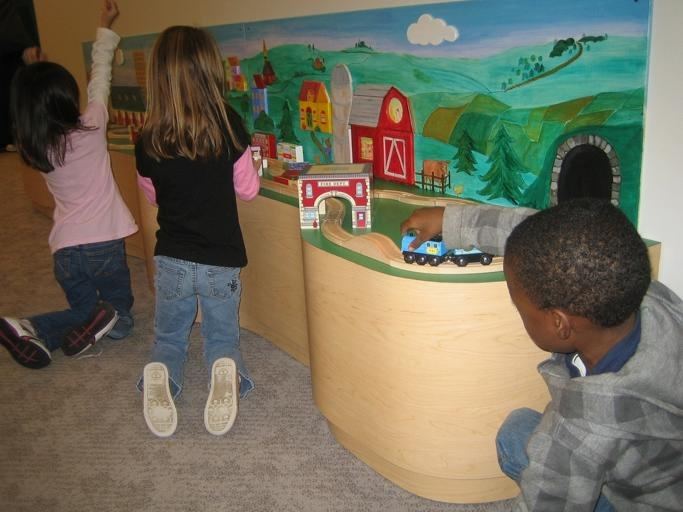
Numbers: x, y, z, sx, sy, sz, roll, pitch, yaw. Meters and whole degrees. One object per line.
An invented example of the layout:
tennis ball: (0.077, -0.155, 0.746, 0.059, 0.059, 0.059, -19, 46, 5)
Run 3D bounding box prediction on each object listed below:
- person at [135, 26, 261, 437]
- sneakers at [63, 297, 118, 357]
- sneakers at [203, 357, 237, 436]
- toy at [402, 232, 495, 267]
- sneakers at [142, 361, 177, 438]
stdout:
person: (-0.522, -0.090, 1.963, 0.454, 1.405, 0.468, 0, 14, -11)
sneakers: (-1.078, 0.320, 2.435, 0.305, 0.137, 0.119, -39, -6, -12)
sneakers: (-0.422, 0.487, 1.924, 0.120, 0.235, 0.050, 5, -30, 0)
toy: (0.286, -0.025, 1.581, 0.299, 0.109, 0.088, 4, 28, 12)
sneakers: (-0.652, 0.515, 1.935, 0.131, 0.233, 0.050, -6, -18, 0)
